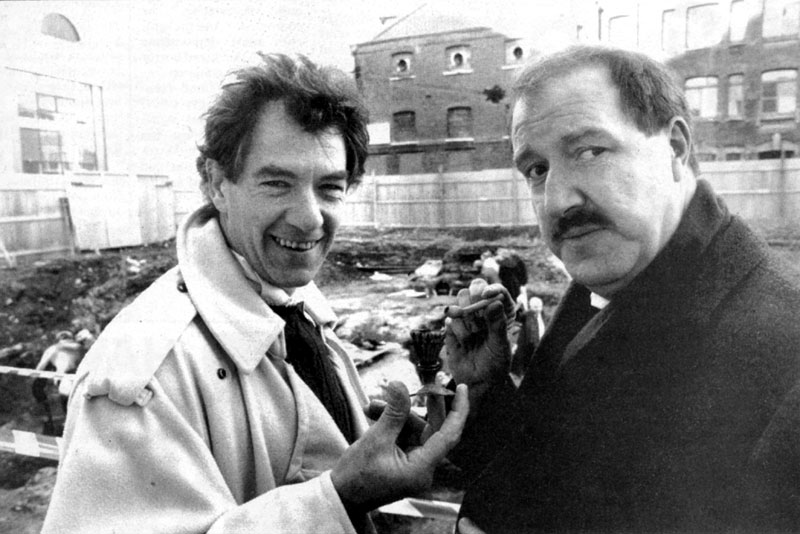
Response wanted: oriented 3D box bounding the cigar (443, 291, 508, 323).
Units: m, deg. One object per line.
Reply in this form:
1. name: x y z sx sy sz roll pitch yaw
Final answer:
1. cigar: 0.267 0.164 2.632 0.293 0.091 0.094 -27 29 44
